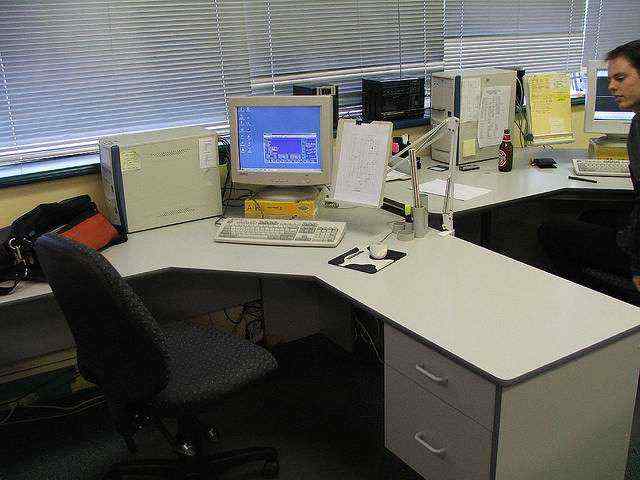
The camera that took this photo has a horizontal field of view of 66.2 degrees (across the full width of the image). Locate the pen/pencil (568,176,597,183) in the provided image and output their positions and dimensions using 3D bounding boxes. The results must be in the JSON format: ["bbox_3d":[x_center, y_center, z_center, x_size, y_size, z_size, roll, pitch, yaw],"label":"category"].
[{"bbox_3d":[1.444,-0.331,2.684,0.088,0.020,0.012,18,56,24],"label":"pen/pencil"}]

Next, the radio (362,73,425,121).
[{"bbox_3d":[0.474,-0.925,3.211,0.358,0.236,0.217,-16,25,-33],"label":"radio"}]

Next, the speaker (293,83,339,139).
[{"bbox_3d":[0.005,-0.770,2.938,0.265,0.296,0.215,-5,23,-29],"label":"speaker"}]

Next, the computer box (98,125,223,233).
[{"bbox_3d":[-0.748,-0.272,2.518,0.546,0.432,0.301,-9,-4,-4],"label":"computer box"}]

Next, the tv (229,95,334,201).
[{"bbox_3d":[-0.193,-0.480,2.368,0.499,0.413,0.106,2,21,11],"label":"tv"}]

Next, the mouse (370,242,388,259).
[{"bbox_3d":[0.245,0.039,2.026,0.054,0.037,0.069,0,11,5],"label":"mouse"}]
